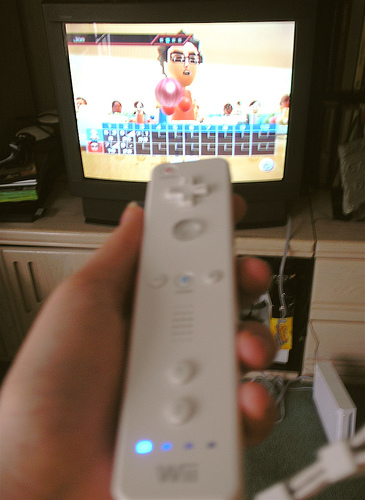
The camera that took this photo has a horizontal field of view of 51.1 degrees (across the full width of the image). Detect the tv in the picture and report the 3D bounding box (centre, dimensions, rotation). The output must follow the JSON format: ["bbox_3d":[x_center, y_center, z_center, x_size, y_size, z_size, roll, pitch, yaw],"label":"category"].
[{"bbox_3d":[0.008,-0.328,0.908,0.495,0.326,0.261,6,16,13],"label":"tv"}]
